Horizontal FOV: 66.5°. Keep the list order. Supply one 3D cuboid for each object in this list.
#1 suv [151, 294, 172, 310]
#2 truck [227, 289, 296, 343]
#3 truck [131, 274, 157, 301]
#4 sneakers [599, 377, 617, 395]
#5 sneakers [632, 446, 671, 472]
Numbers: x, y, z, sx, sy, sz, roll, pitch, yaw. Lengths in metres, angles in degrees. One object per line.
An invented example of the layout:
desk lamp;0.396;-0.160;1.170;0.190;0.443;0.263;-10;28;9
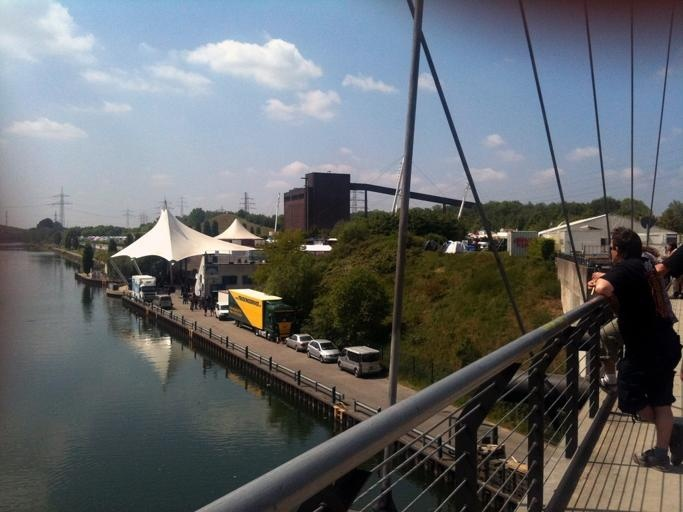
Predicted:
suv;-15.137;3.851;43.418;1.098;1.080;2.151;-1;7;-30
truck;-4.460;3.321;31.345;1.817;3.068;6.801;-3;5;-30
truck;-18.375;2.958;48.283;1.635;2.838;5.215;0;-1;-23
sneakers;1.897;0.922;3.706;0.092;0.086;0.156;-2;1;0
sneakers;2.014;1.298;3.365;0.204;0.098;0.124;2;1;23
